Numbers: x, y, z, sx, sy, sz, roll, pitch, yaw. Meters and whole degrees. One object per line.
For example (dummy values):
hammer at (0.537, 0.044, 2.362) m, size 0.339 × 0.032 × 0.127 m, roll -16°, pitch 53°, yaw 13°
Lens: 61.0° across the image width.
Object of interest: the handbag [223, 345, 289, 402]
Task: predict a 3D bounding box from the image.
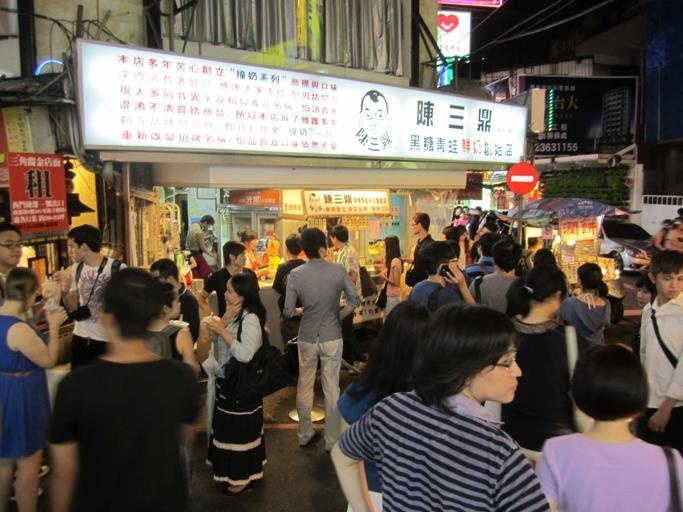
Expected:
handbag at (-0.799, 1.062, 5.293) m, size 0.563 × 0.644 × 0.278 m, roll -14°, pitch -1°, yaw -21°

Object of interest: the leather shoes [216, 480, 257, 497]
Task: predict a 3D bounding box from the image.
leather shoes at (-0.986, 2.213, 5.511) m, size 0.357 × 0.153 × 0.122 m, roll 10°, pitch -4°, yaw -20°

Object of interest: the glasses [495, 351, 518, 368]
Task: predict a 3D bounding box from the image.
glasses at (0.825, 0.521, 2.894) m, size 0.106 × 0.040 × 0.079 m, roll -34°, pitch 8°, yaw -39°

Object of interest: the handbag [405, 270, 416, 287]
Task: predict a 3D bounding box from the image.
handbag at (0.911, 0.290, 7.604) m, size 0.150 × 0.259 × 0.286 m, roll -2°, pitch 1°, yaw 1°

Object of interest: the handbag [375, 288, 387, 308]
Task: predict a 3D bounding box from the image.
handbag at (0.632, 0.640, 8.639) m, size 0.113 × 0.295 × 0.206 m, roll 6°, pitch -1°, yaw -25°
